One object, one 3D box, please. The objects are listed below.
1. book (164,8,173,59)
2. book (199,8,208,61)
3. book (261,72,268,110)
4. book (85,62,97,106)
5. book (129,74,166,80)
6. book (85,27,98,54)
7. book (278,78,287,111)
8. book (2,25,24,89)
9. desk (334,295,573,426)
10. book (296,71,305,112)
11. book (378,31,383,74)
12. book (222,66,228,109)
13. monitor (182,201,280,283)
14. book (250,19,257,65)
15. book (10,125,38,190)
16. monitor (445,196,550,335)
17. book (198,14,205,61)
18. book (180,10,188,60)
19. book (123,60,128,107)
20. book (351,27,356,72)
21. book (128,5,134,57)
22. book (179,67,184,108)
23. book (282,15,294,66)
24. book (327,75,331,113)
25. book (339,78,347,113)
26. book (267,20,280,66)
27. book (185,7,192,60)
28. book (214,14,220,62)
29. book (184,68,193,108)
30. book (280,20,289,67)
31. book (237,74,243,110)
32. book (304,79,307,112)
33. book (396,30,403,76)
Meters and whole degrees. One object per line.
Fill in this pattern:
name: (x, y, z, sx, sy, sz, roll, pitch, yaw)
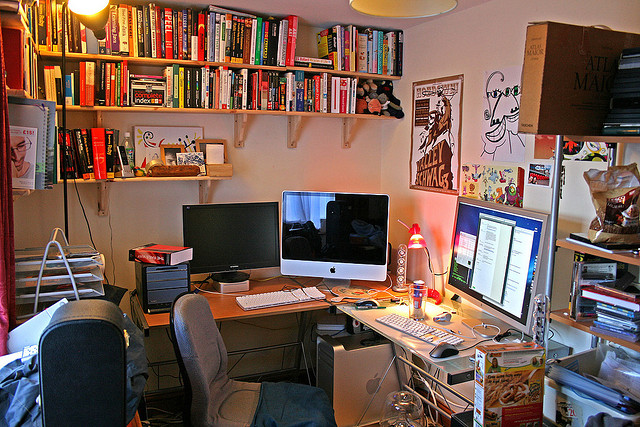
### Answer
book: (-0.988, -1.174, 3.078, 0.065, 0.314, 0.023, -5, 9, -21)
book: (-0.780, -1.183, 3.149, 0.042, 0.390, 0.290, -1, 9, -16)
book: (-0.393, -0.867, 3.337, 0.058, 0.251, 0.015, -7, 10, -33)
book: (-1.455, -0.823, 2.998, 0.090, 0.266, 0.044, -7, 10, -33)
book: (-1.144, -0.913, 3.146, 0.226, 0.041, 0.099, -4, 8, -14)
book: (-1.451, -1.095, 3.003, 0.067, 0.174, 0.123, -6, 9, -25)
book: (-0.273, -0.870, 3.384, 0.085, 0.202, 0.212, -2, 7, -1)
book: (-1.423, -0.729, 2.199, 0.087, 0.279, 0.034, -6, 9, -24)
desk: (0.739, 0.830, 2.688, 0.569, 0.688, 1.036, 0, 7, -24)
book: (-0.148, -0.897, 3.421, 0.085, 0.237, 0.258, 0, 12, -6)
book: (0.459, -1.224, 3.592, 0.050, 0.307, 0.015, -8, 10, -34)
book: (-0.654, -0.881, 3.227, 0.033, 0.316, 0.232, -1, 12, -15)
monitor: (-0.633, 0.202, 3.420, 0.678, 0.565, 0.215, -3, 12, -10)
book: (-0.460, -1.199, 3.248, 0.037, 0.330, 0.243, 1, 13, -12)
book: (-1.373, -0.265, 2.201, 0.123, 0.295, 0.043, -8, 10, -34)
monitor: (0.929, 0.265, 2.809, 0.720, 0.701, 0.254, 17, -13, -22)
book: (-0.793, -1.189, 3.142, 0.039, 0.359, 0.266, -1, 9, -15)
book: (-0.902, -1.194, 3.117, 0.042, 0.392, 0.290, -2, 8, -14)
book: (-1.257, -0.850, 3.051, 0.033, 0.308, 0.235, -2, 11, -20)
book: (0.247, -1.210, 3.484, 0.017, 0.317, 0.055, 5, 11, 43)
book: (-1.211, -1.163, 3.020, 0.041, 0.310, 0.021, -5, 9, -20)
book: (-0.929, -0.859, 3.161, 0.033, 0.307, 0.239, -2, 8, -16)
book: (-0.227, -1.229, 3.315, 0.052, 0.317, 0.284, 0, 16, -14)
book: (0.067, -0.897, 3.504, 0.033, 0.264, 0.019, -8, 10, -35)
book: (0.170, -0.896, 3.523, 0.083, 0.214, 0.233, -1, 9, -3)
book: (-0.331, -1.203, 3.290, 0.093, 0.237, 0.257, -1, 26, -11)
book: (-0.872, -1.194, 3.126, 0.042, 0.395, 0.292, -2, 9, -16)
book: (-0.690, -1.198, 3.165, 0.036, 0.335, 0.254, -1, 13, -19)
book: (-0.888, -0.859, 3.170, 0.081, 0.231, 0.248, -2, 8, -16)
book: (-0.255, -1.208, 3.305, 0.043, 0.287, 0.252, 1, 21, -12)
book: (-0.555, -0.845, 3.277, 0.047, 0.234, 0.015, -3, 8, -8)
book: (-0.106, -0.867, 3.453, 0.027, 0.229, 0.013, -10, 11, -43)
book: (0.609, -1.237, 3.630, 0.058, 0.336, 0.025, -8, 10, -36)
